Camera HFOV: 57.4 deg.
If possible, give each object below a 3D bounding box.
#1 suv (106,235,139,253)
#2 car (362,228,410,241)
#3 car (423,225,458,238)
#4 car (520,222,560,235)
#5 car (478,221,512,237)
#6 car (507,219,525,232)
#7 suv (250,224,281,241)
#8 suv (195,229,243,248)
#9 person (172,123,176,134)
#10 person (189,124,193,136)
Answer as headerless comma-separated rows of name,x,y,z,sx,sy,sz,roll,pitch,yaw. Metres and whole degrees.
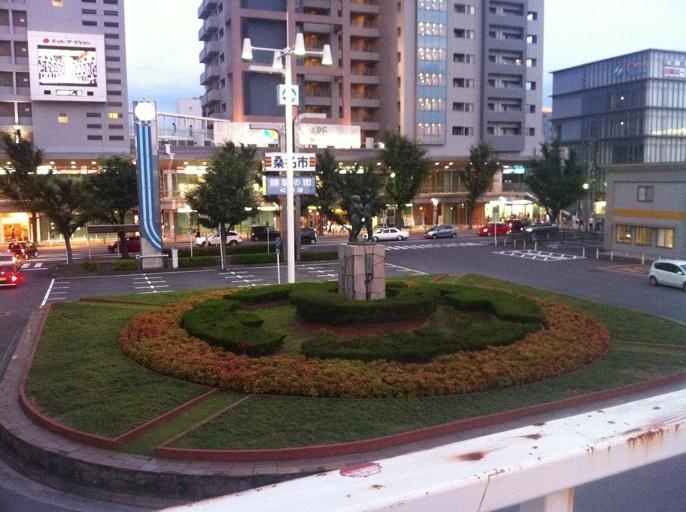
suv,-17.429,-0.704,49.589,2.692,1.453,1.594,2,2,-16
car,4.063,-1.928,58.195,2.318,1.544,6.047,-3,-3,32
car,9.154,-2.253,59.494,2.285,1.157,1.375,0,2,-15
car,17.737,-2.122,57.382,3.527,1.297,1.631,0,5,-17
car,14.611,-2.678,61.548,2.810,1.585,5.204,-3,-3,26
car,17.746,-3.133,64.722,2.333,1.227,1.351,-9,14,-24
suv,-7.408,-2.002,58.441,2.497,1.339,1.451,-3,12,2
suv,-10.634,-1.309,53.798,3.702,1.464,1.722,0,5,-20
person,-21.611,-16.489,80.298,0.343,1.082,2.049,-1,-2,-10
person,-21.031,-17.137,86.206,0.355,1.175,2.837,-1,-3,-15
